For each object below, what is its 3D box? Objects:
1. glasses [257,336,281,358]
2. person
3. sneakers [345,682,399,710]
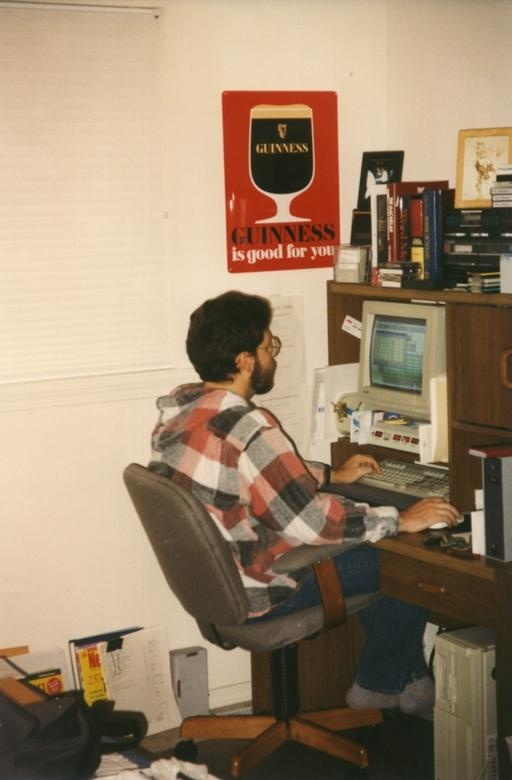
[{"bbox_3d":[0.044,-0.117,1.916,0.078,0.026,0.074,-4,9,-8],"label":"glasses"},{"bbox_3d":[0.126,0.351,1.876,0.719,1.176,0.574,-9,10,-20],"label":"person"},{"bbox_3d":[0.346,0.876,2.077,0.121,0.043,0.087,2,2,-14],"label":"sneakers"}]
